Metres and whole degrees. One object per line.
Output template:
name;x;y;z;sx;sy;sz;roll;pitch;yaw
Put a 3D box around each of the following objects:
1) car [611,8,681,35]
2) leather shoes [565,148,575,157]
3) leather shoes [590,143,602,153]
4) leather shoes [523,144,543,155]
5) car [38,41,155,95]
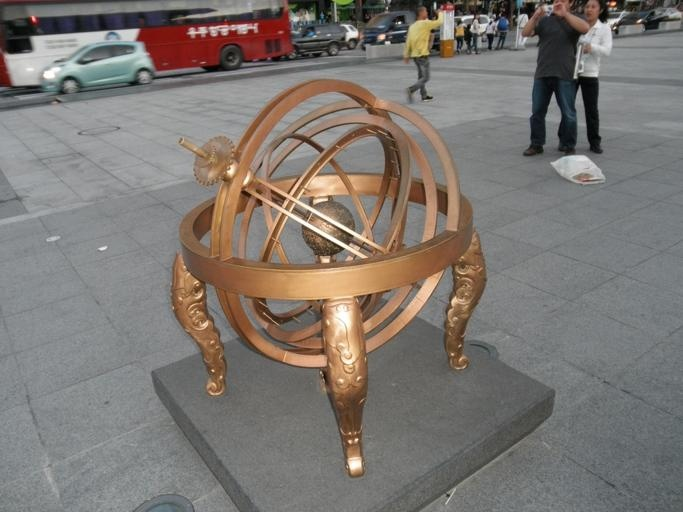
car;21.588;-16.502;35.374;3.321;1.103;4.818;1;28;13
leather shoes;3.527;-1.604;7.795;0.148;0.111;0.145;-3;11;-2
leather shoes;3.977;-1.690;7.914;0.107;0.089;0.207;-15;40;8
leather shoes;3.036;-1.709;8.159;0.373;0.188;0.139;-10;22;-24
car;-9.126;-6.947;18.939;3.338;1.505;2.021;-12;28;-31
